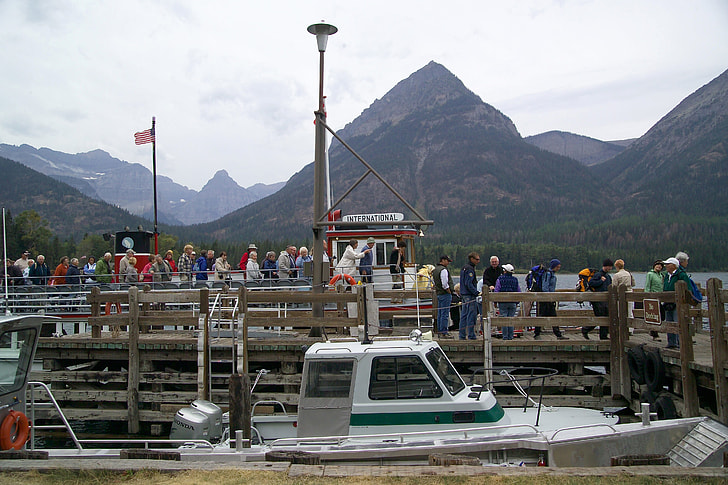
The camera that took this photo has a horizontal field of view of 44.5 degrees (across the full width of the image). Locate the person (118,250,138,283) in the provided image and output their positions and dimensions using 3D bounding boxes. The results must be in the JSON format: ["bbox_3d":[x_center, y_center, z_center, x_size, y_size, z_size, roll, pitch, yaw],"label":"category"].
[{"bbox_3d":[-8.122,0.796,30.323,0.520,1.118,1.290,-1,-2,-16],"label":"person"}]

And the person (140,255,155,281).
[{"bbox_3d":[-7.792,0.931,31.822,0.716,1.113,0.658,0,8,-20],"label":"person"}]

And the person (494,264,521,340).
[{"bbox_3d":[4.348,1.784,27.154,0.805,2.276,0.756,4,-5,-18],"label":"person"}]

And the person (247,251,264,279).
[{"bbox_3d":[-3.703,0.763,29.798,0.546,0.995,1.385,-1,-2,-8],"label":"person"}]

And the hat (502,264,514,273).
[{"bbox_3d":[4.405,0.790,27.295,0.303,0.156,0.220,35,30,13],"label":"hat"}]

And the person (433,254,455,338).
[{"bbox_3d":[2.457,1.599,27.198,0.607,2.501,0.844,0,-7,0],"label":"person"}]

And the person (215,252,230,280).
[{"bbox_3d":[-4.793,0.767,30.047,0.498,1.016,1.574,-1,-2,-10],"label":"person"}]

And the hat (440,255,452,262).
[{"bbox_3d":[2.513,0.528,26.884,0.378,0.221,0.268,-6,10,-13],"label":"hat"}]

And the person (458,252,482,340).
[{"bbox_3d":[3.279,1.591,27.095,0.720,2.517,0.836,-1,3,-14],"label":"person"}]

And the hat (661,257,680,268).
[{"bbox_3d":[8.701,0.547,25.225,0.384,0.212,0.285,6,2,26],"label":"hat"}]

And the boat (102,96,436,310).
[{"bbox_3d":[-1.429,-0.267,30.262,7.755,9.684,2.603,-4,2,15],"label":"boat"}]

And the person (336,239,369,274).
[{"bbox_3d":[-0.481,0.472,28.139,0.932,1.123,0.573,-2,-2,9],"label":"person"}]
